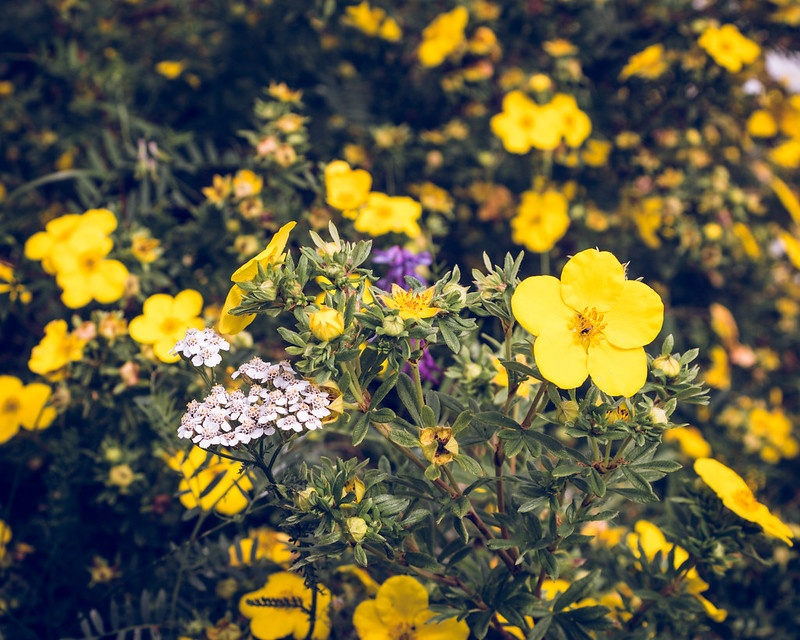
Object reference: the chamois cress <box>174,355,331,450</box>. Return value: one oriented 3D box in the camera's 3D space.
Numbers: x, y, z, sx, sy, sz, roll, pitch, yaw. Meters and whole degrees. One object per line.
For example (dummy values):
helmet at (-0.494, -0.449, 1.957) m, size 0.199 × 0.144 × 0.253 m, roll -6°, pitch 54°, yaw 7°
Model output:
chamois cress at (-0.453, 0.270, 4.424) m, size 0.331 × 0.163 × 0.345 m, roll 18°, pitch 44°, yaw 31°

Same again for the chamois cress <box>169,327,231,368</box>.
chamois cress at (-0.626, 0.086, 4.472) m, size 0.134 × 0.059 × 0.141 m, roll 6°, pitch 47°, yaw 9°

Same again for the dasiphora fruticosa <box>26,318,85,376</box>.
dasiphora fruticosa at (-1.220, 0.108, 5.053) m, size 0.174 × 0.073 × 0.191 m, roll 23°, pitch 75°, yaw -2°

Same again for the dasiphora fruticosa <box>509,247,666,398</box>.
dasiphora fruticosa at (0.603, 0.044, 4.387) m, size 0.439 × 0.230 × 0.446 m, roll -22°, pitch 67°, yaw -11°
